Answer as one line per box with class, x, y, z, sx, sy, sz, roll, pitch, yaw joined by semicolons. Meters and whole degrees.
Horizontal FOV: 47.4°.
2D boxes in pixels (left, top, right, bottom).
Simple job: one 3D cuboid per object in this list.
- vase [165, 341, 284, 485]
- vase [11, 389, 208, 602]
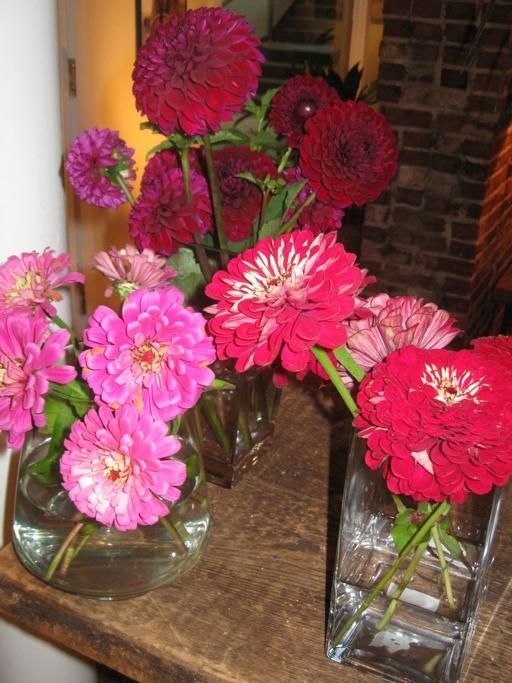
vase;-0.017;0.082;0.584;0.072;0.071;0.096;8;70;20
vase;-0.105;0.107;0.439;0.146;0.131;0.141;2;4;-30
